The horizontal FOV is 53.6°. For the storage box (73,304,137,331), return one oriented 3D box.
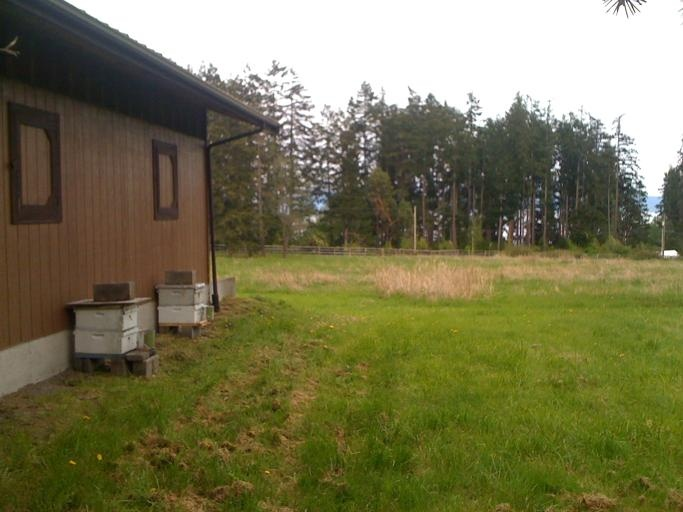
[{"bbox_3d":[-3.665,0.966,10.560,0.900,0.392,0.488,-1,1,-25],"label":"storage box"}]
